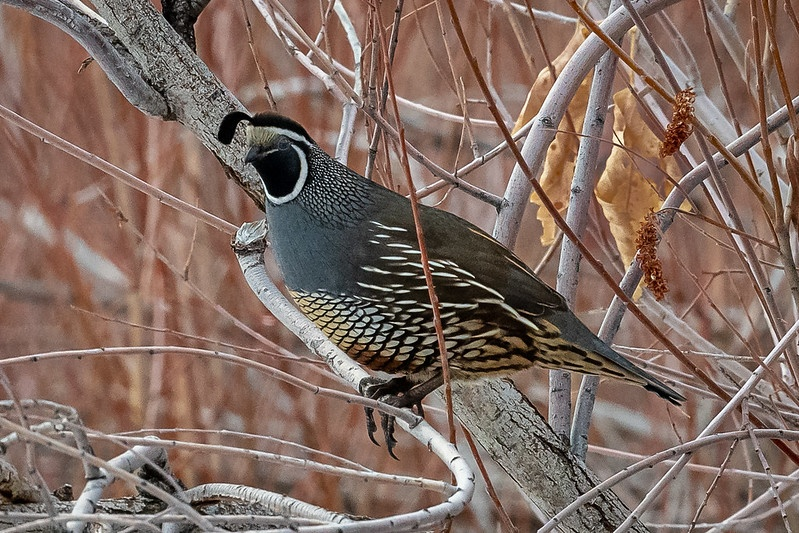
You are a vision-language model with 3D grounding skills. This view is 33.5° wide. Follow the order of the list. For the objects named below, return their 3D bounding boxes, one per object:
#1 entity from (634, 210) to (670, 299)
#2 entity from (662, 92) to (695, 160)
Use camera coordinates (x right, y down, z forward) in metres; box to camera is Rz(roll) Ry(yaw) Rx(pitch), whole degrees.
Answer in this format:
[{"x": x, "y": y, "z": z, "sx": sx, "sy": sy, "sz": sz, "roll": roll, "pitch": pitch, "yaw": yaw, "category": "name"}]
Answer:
[{"x": 0.848, "y": -0.025, "z": 4.517, "sx": 0.102, "sy": 0.132, "sz": 0.339, "roll": -7, "pitch": -100, "yaw": 8, "category": "entity"}, {"x": 0.921, "y": -0.473, "z": 4.421, "sx": 0.114, "sy": 0.246, "sz": 0.049, "roll": 5, "pitch": -26, "yaw": 43, "category": "entity"}]
